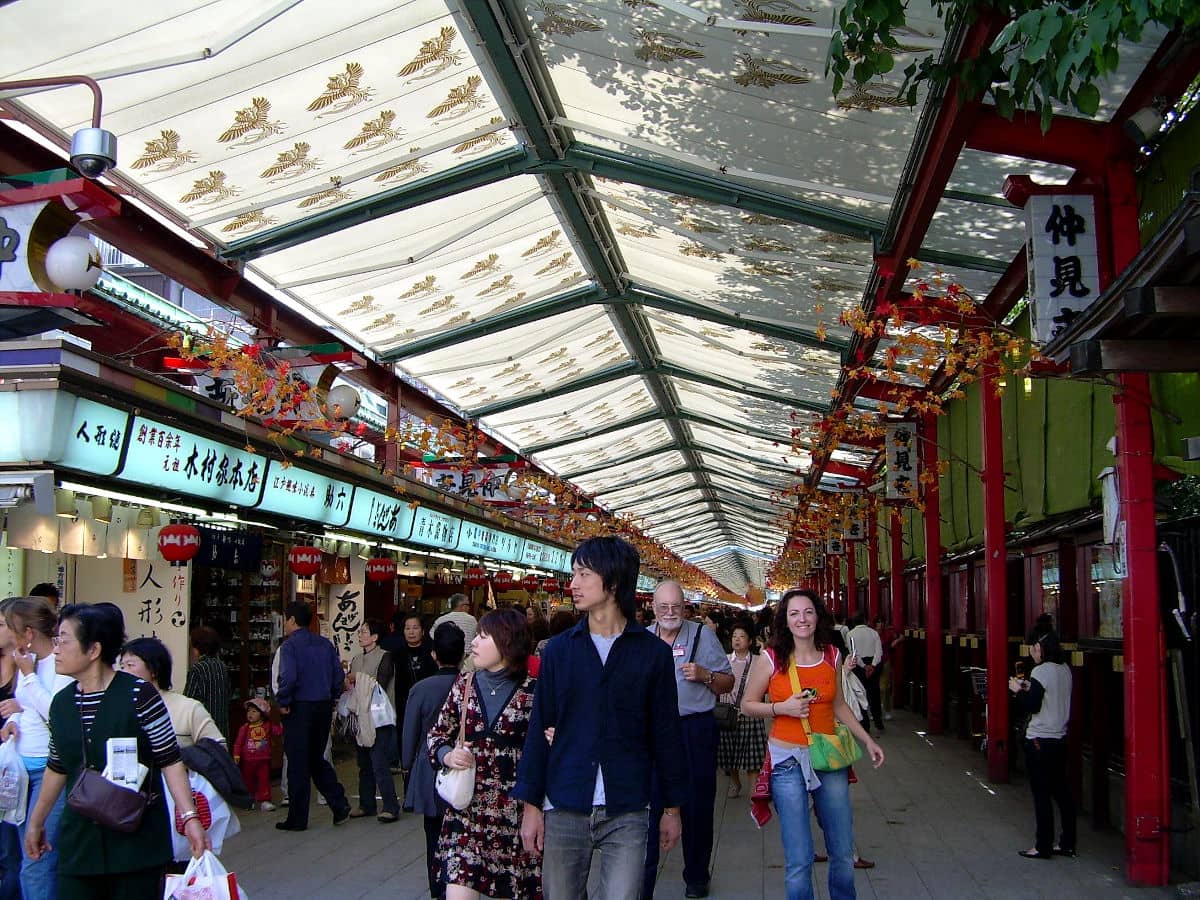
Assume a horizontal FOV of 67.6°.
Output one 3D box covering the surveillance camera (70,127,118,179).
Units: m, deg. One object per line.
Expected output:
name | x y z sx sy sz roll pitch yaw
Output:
surveillance camera | -2.762 -1.667 4.920 0.190 0.313 0.333 6 -17 -27

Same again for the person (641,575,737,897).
person | 0.573 1.896 5.641 0.576 2.102 0.707 7 -1 11

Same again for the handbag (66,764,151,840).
handbag | -1.905 1.360 3.568 0.272 0.241 0.266 10 -4 32

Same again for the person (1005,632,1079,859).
person | 3.403 2.274 7.004 0.520 1.703 0.493 4 -6 -33
